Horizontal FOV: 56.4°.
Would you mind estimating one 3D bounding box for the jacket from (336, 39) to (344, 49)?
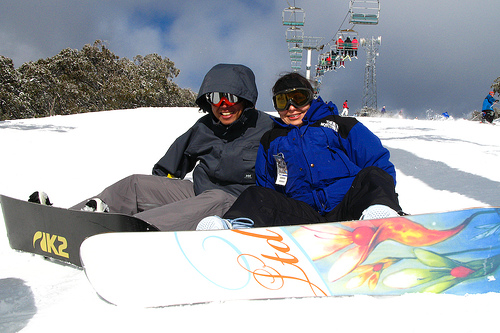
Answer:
[{"bbox_3d":[5.294,-7.199,27.359,0.334,0.544,0.696,11,13,32],"label":"jacket"}]

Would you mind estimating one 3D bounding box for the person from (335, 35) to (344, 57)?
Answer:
[{"bbox_3d":[5.313,-7.152,27.633,0.470,1.066,1.355,6,11,10],"label":"person"}]

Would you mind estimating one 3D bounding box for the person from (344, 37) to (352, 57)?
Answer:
[{"bbox_3d":[5.756,-7.023,27.332,0.413,0.997,0.669,6,11,10],"label":"person"}]

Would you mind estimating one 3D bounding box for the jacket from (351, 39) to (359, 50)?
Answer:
[{"bbox_3d":[6.161,-7.166,27.187,0.330,0.500,0.485,1,9,6],"label":"jacket"}]

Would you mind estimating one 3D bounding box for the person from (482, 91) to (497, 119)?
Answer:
[{"bbox_3d":[9.439,-2.408,18.358,0.442,1.121,2.603,9,13,26],"label":"person"}]

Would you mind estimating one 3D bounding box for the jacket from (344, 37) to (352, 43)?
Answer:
[{"bbox_3d":[5.694,-7.390,27.224,0.307,0.247,0.500,13,14,37],"label":"jacket"}]
